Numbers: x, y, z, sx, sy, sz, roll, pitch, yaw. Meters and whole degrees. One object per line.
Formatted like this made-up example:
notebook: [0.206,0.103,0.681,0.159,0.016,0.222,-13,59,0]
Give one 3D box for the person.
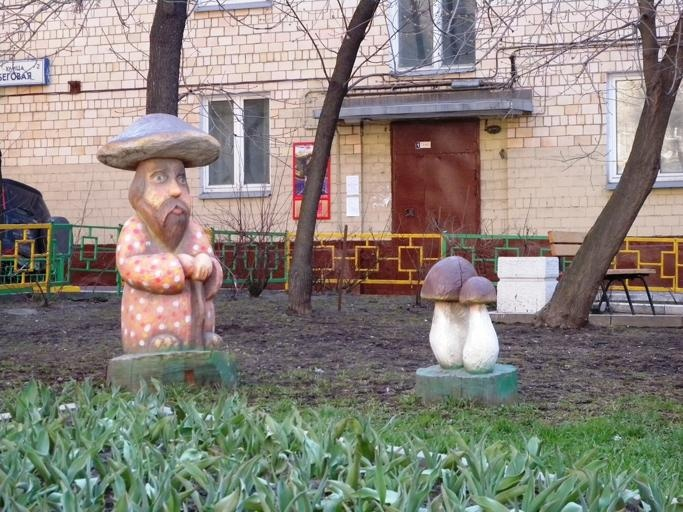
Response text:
person: [-1.846,-0.005,12.806,1.079,2.000,0.705,-2,11,-12]
